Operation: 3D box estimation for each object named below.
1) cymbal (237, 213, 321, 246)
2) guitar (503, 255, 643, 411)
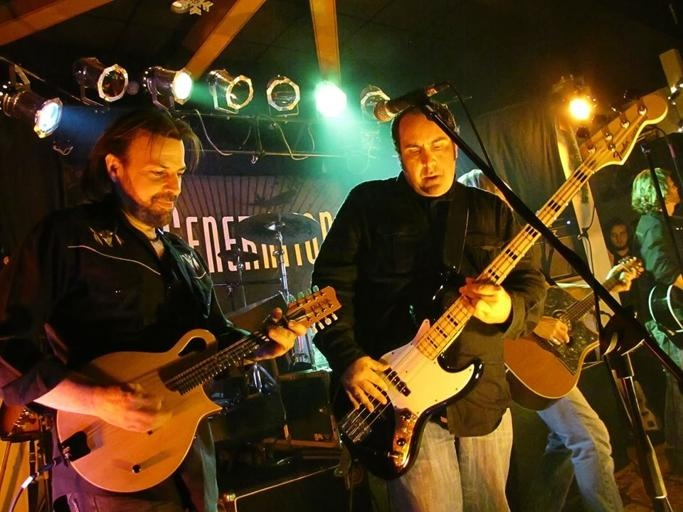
[{"bbox_3d":[-0.870,-0.363,7.446,0.627,0.154,0.637,6,-37,-17],"label":"cymbal"},{"bbox_3d":[2.051,0.465,4.731,1.742,0.736,0.238,-36,-12,-22],"label":"guitar"}]
